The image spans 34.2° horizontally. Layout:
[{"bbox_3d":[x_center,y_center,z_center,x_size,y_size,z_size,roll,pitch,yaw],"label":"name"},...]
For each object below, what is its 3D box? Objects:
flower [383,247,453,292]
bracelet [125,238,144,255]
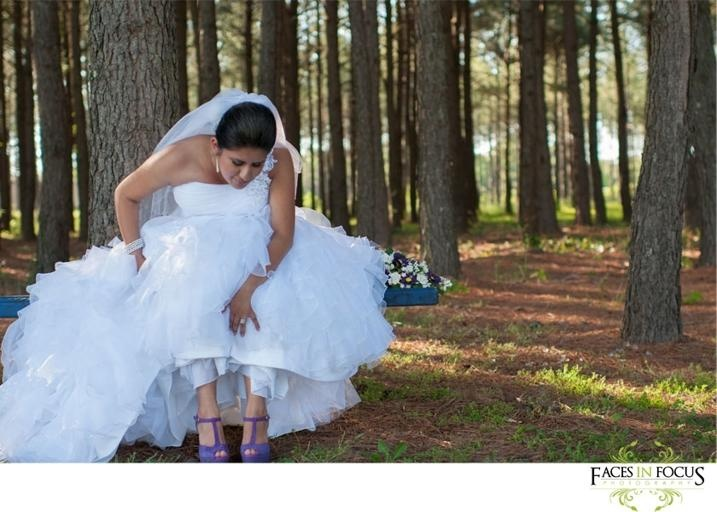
[{"bbox_3d":[0.647,0.142,14.857,0.647,0.587,0.692,-5,16,-28],"label":"flower"},{"bbox_3d":[-2.703,-0.132,14.162,0.168,0.101,0.172,-29,3,33],"label":"bracelet"}]
